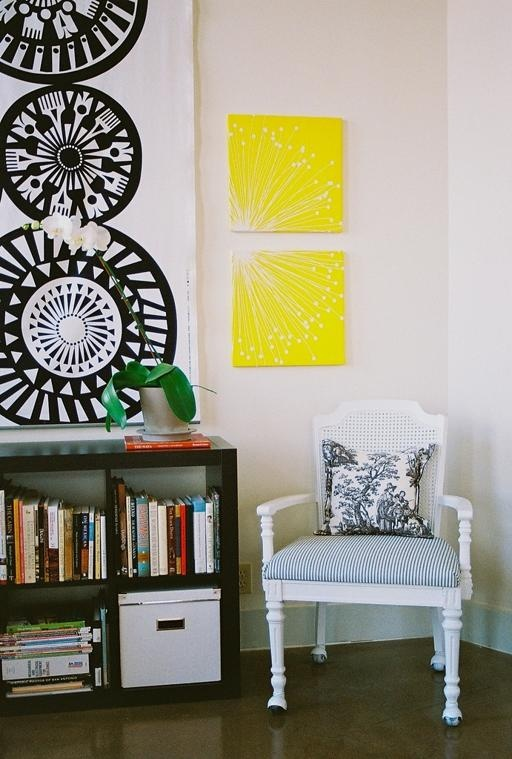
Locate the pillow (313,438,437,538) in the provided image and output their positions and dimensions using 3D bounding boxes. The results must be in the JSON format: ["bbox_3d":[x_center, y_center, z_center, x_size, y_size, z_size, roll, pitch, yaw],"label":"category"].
[{"bbox_3d":[0.373,0.347,2.377,0.289,0.258,0.113,0,-28,10],"label":"pillow"}]

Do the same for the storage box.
[{"bbox_3d":[-0.250,0.729,2.232,0.273,0.247,0.272,0,-9,-10],"label":"storage box"}]

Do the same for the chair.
[{"bbox_3d":[0.325,0.499,2.340,0.589,0.881,0.626,-1,-3,4],"label":"chair"}]

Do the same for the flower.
[{"bbox_3d":[-0.461,-0.170,2.376,0.475,0.698,0.457,-1,3,-18],"label":"flower"}]

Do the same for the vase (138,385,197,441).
[{"bbox_3d":[-0.273,0.100,2.388,0.184,0.171,0.189,-2,6,-4],"label":"vase"}]
